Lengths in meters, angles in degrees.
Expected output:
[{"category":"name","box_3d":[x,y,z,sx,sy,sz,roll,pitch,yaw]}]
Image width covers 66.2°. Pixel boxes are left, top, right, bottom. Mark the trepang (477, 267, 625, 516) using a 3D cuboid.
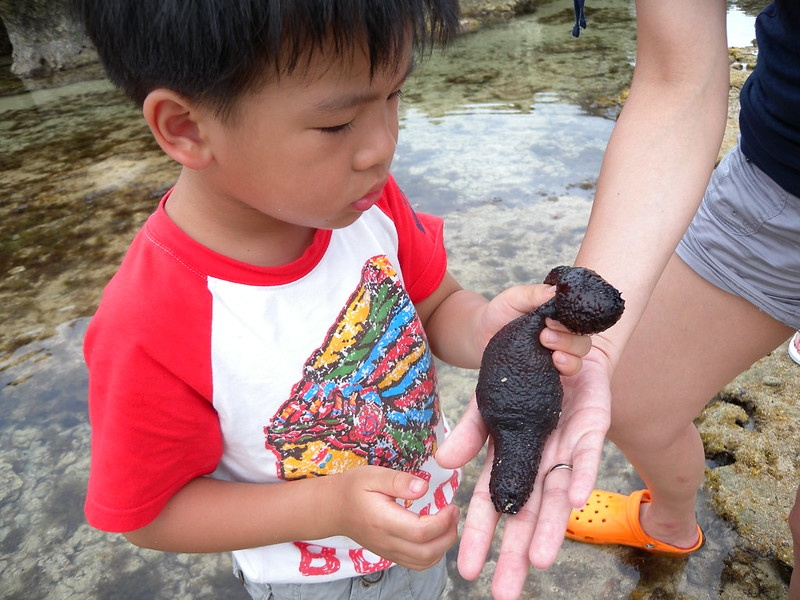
[{"category":"trepang","box_3d":[0.390,0.212,1.772,0.397,0.215,0.721,25,69,-22]}]
